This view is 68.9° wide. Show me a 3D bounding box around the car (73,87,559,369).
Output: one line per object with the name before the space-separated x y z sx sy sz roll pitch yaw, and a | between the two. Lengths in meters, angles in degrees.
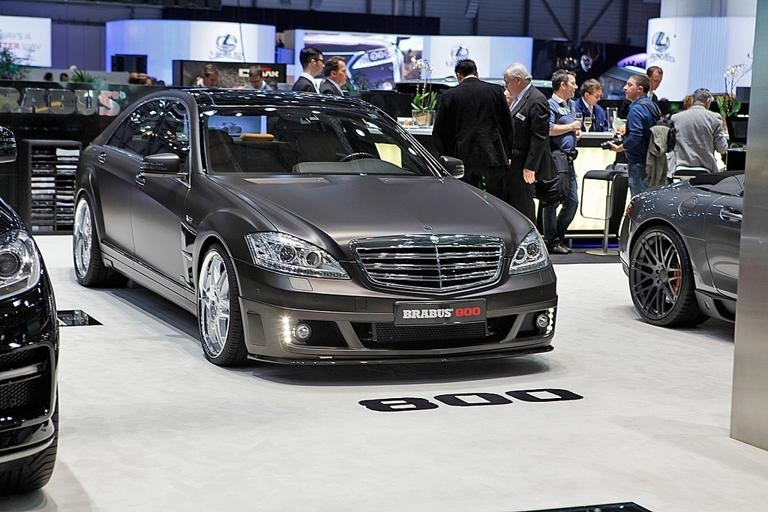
car | -0.815 -0.402 4.885 4.230 2.288 1.889 7 8 40

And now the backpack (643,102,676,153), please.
backpack | 4.598 -2.121 9.227 0.395 0.870 0.906 5 7 27

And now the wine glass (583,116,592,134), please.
wine glass | 4.149 -2.717 11.453 0.166 0.336 0.454 4 7 24

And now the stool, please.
stool | 3.386 -0.635 7.397 1.613 1.033 0.538 11 17 44

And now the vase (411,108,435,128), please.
vase | 0.752 -2.700 11.002 0.477 0.460 0.476 2 11 3

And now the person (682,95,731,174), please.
person | 5.694 -2.274 9.893 0.532 0.426 1.391 -14 -43 40

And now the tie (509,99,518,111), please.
tie | 1.864 -2.172 8.128 0.154 0.118 0.223 1 40 12
